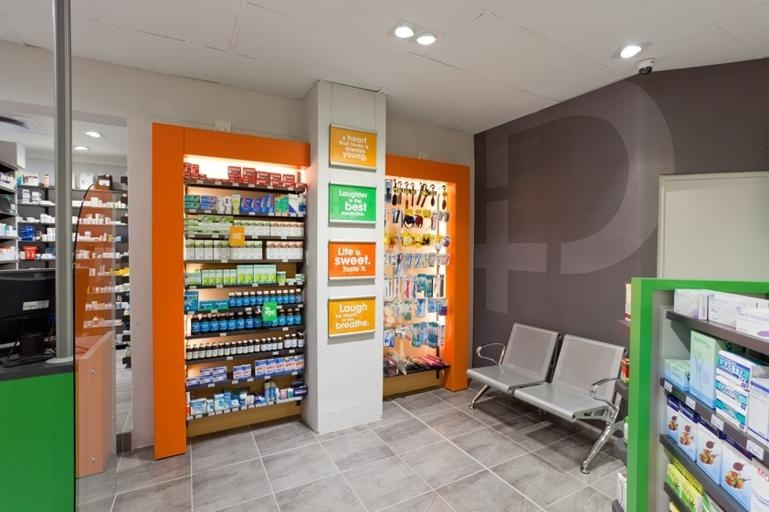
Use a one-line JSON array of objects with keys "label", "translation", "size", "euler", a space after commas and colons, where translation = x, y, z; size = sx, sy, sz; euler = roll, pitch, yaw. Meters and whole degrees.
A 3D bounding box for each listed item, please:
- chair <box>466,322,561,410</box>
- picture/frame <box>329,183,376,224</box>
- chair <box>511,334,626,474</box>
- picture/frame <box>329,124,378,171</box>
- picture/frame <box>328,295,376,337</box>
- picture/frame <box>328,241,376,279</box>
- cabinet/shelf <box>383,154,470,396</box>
[{"label": "chair", "translation": [1.572, 1.388, 5.941], "size": [0.846, 1.024, 0.829], "euler": [-4, 7, -32]}, {"label": "picture/frame", "translation": [-0.393, -0.603, 5.524], "size": [0.482, 0.350, 0.063], "euler": [0, 1, -27]}, {"label": "chair", "translation": [2.048, 1.559, 5.347], "size": [0.875, 1.032, 0.936], "euler": [-8, 6, -23]}, {"label": "picture/frame", "translation": [-0.382, -1.231, 5.487], "size": [0.554, 0.396, 0.074], "euler": [1, -2, -28]}, {"label": "picture/frame", "translation": [-0.402, 0.678, 5.516], "size": [0.496, 0.362, 0.080], "euler": [1, -2, -28]}, {"label": "picture/frame", "translation": [-0.398, 0.042, 5.525], "size": [0.436, 0.317, 0.056], "euler": [0, -2, -27]}, {"label": "cabinet/shelf", "translation": [0.728, 0.268, 6.448], "size": [0.988, 3.118, 0.324], "euler": [-5, 3, -37]}]
